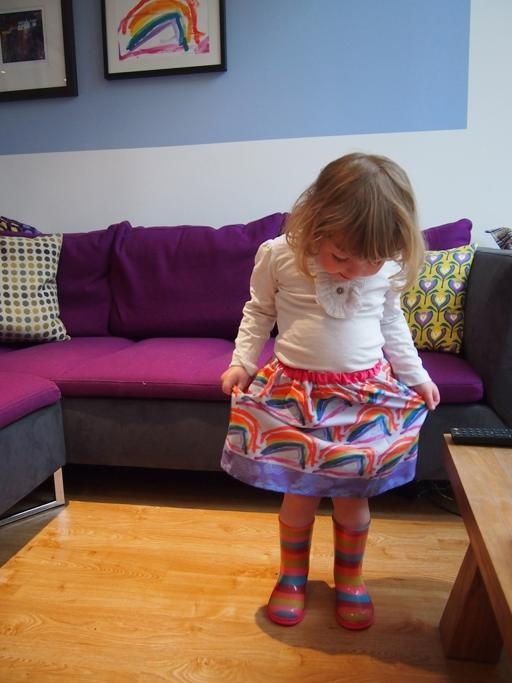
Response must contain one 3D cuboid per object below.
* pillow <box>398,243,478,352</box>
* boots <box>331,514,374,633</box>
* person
[{"bbox_3d":[0.482,-0.100,1.471,0.302,0.265,0.151,2,17,18],"label":"pillow"},{"bbox_3d":[0.190,0.461,1.109,0.084,0.166,0.178,3,4,3],"label":"boots"},{"bbox_3d":[0.136,0.104,1.058,0.393,0.873,0.245,3,14,17],"label":"person"}]
